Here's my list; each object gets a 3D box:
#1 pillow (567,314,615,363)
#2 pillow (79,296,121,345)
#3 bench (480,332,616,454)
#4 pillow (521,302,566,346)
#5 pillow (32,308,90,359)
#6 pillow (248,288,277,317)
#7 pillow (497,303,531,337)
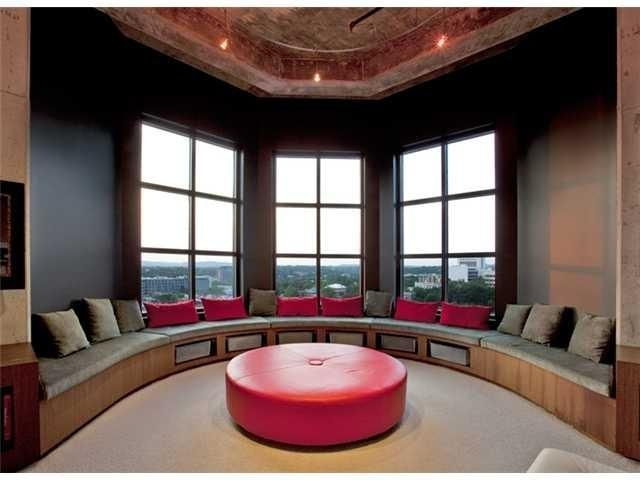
[{"bbox_3d":[3.197,1.130,5.188,0.269,0.478,0.508,0,0,-5],"label":"pillow"},{"bbox_3d":[-2.840,1.018,5.696,0.294,0.540,0.584,8,-1,12],"label":"pillow"},{"bbox_3d":[2.636,1.658,5.086,0.224,0.632,1.656,-8,15,-29],"label":"bench"},{"bbox_3d":[2.865,1.066,5.645,0.171,0.464,0.457,24,-2,-38],"label":"pillow"},{"bbox_3d":[-3.002,1.081,5.143,0.313,0.480,0.555,-2,0,9],"label":"pillow"},{"bbox_3d":[-0.978,1.048,7.308,0.409,0.414,0.163,3,-40,-13],"label":"pillow"},{"bbox_3d":[2.681,1.091,6.072,0.129,0.382,0.409,22,-5,-19],"label":"pillow"}]
